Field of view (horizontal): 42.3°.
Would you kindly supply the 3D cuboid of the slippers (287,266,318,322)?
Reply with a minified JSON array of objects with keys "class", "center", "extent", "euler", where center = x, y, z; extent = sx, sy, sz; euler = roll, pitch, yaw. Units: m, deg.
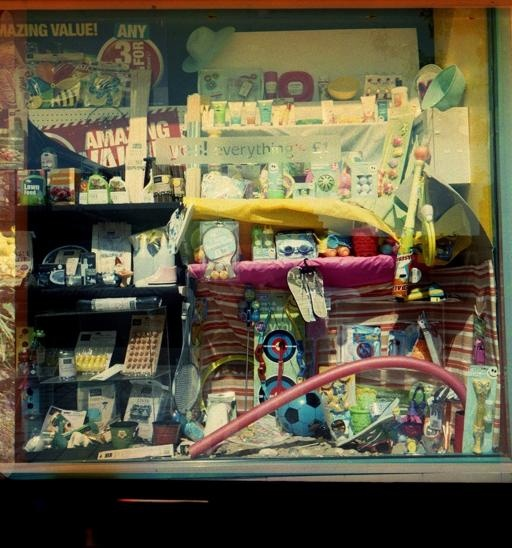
[{"class":"slippers","center":[0.184,0.074,2.733],"extent":[0.089,0.239,0.091],"euler":[-23,4,7]}]

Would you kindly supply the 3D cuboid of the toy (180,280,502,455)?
[{"class":"toy","center":[0.288,0.417,2.830],"extent":[0.713,0.496,0.344],"euler":[-21,5,-2]}]

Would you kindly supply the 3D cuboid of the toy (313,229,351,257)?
[{"class":"toy","center":[0.316,-0.122,2.679],"extent":[0.131,0.095,0.031],"euler":[-2,8,-7]}]

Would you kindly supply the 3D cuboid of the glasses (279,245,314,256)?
[{"class":"glasses","center":[0.167,-0.094,2.683],"extent":[0.140,0.047,0.018],"euler":[-1,8,3]}]

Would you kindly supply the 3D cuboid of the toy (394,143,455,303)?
[{"class":"toy","center":[0.599,-0.210,2.683],"extent":[0.176,0.604,0.293],"euler":[3,15,5]}]

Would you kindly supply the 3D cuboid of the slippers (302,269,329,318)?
[{"class":"slippers","center":[0.239,0.075,2.695],"extent":[0.088,0.198,0.037],"euler":[-12,-8,-14]}]
